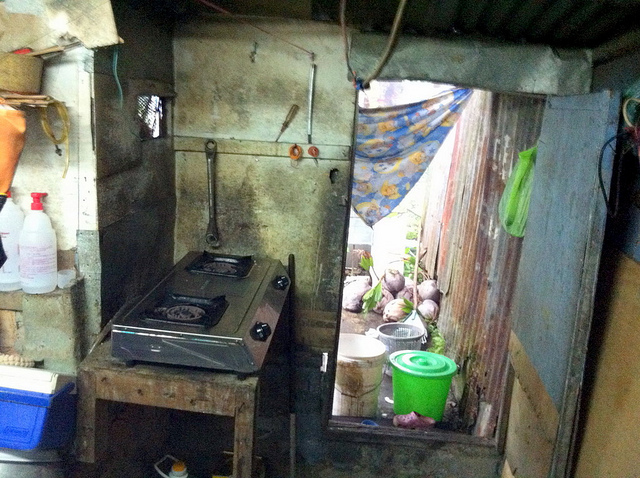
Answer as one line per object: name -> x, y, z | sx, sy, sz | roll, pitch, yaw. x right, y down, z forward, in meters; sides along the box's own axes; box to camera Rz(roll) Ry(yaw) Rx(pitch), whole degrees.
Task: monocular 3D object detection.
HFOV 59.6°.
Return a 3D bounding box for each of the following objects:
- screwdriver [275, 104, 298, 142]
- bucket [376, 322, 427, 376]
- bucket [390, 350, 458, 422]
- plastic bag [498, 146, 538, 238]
screwdriver -> -0.224, -0.854, 4.096 | 0.045, 0.317, 0.046 | 34, 6, -43
bucket -> 0.895, 1.256, 6.213 | 0.534, 0.572, 0.488 | 4, 10, -1
bucket -> 0.906, 1.328, 5.063 | 0.580, 0.510, 0.586 | 3, 11, -1
plastic bag -> 1.392, -0.324, 3.970 | 0.202, 0.627, 0.251 | -11, 21, -25
